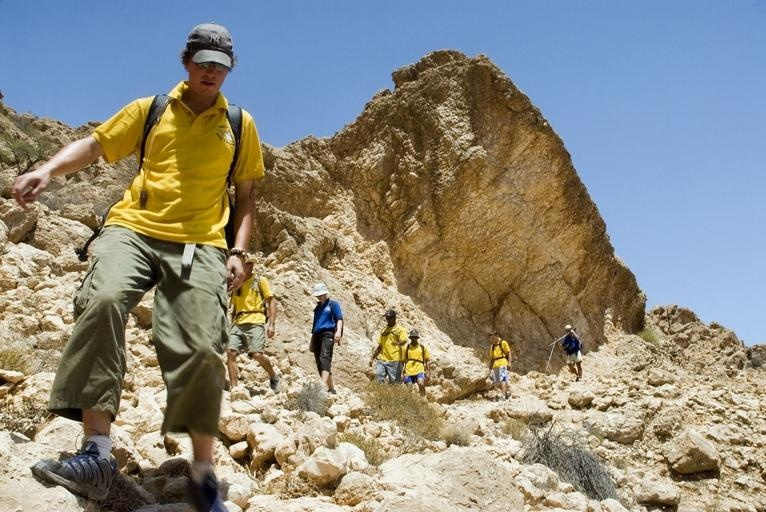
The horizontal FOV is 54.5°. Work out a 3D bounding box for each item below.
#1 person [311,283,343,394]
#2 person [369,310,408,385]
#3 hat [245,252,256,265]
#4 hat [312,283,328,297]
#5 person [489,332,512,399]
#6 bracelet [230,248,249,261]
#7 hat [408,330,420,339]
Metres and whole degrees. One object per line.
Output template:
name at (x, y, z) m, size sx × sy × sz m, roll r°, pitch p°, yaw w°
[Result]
person at (-0.969, 1.406, 12.624) m, size 0.503 × 2.056 × 0.667 m, roll 4°, pitch -35°, yaw -5°
person at (0.116, 1.829, 14.332) m, size 0.707 × 1.657 × 0.724 m, roll 1°, pitch -35°, yaw -1°
hat at (-2.357, 0.051, 13.274) m, size 0.201 × 0.288 × 0.098 m, roll -8°, pitch 8°, yaw -28°
hat at (-1.080, 0.573, 13.008) m, size 0.227 × 0.172 × 0.313 m, roll -4°, pitch -11°, yaw 13°
person at (2.573, 2.433, 16.092) m, size 0.388 × 1.400 × 0.816 m, roll -4°, pitch -35°, yaw 6°
bracelet at (-1.537, -0.021, 7.956) m, size 0.126 × 0.057 × 0.136 m, roll 11°, pitch -9°, yaw 42°
hat at (0.591, 1.530, 14.599) m, size 0.168 × 0.087 × 0.167 m, roll 0°, pitch 1°, yaw -39°
